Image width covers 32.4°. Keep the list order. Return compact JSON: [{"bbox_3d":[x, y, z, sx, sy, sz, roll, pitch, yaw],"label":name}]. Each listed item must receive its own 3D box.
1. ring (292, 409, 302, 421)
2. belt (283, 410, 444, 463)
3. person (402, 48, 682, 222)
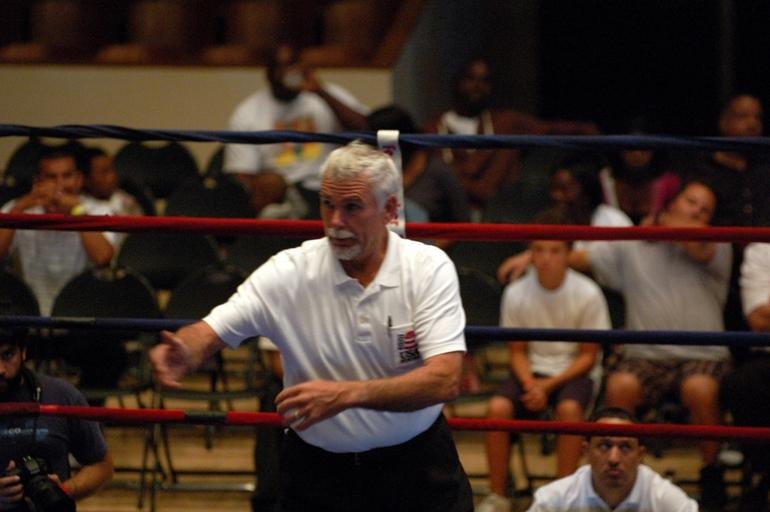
[{"bbox_3d":[-0.354,0.631,5.251,0.040,0.031,0.012,-3,-27,-2],"label":"ring"},{"bbox_3d":[-0.089,0.713,5.456,0.678,0.199,0.142,-2,6,0],"label":"belt"},{"bbox_3d":[0.564,-0.621,7.089,0.978,0.417,1.133,2,20,-1],"label":"person"}]
